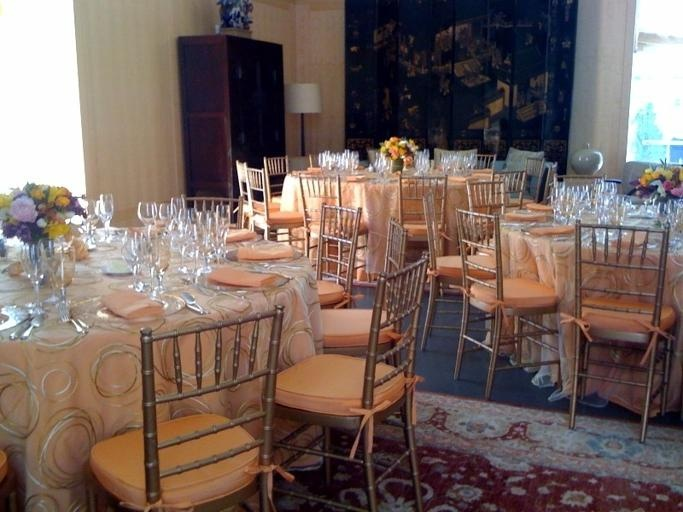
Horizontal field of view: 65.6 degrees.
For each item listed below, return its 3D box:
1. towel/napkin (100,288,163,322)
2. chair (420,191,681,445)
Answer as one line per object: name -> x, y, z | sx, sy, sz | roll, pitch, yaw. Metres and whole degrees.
towel/napkin -> -0.829, 0.184, 2.061 | 0.138, 0.043, 0.165 | -9, 19, -42
chair -> 1.352, 0.421, 3.331 | 1.261, 1.201, 0.536 | 15, 28, 42
